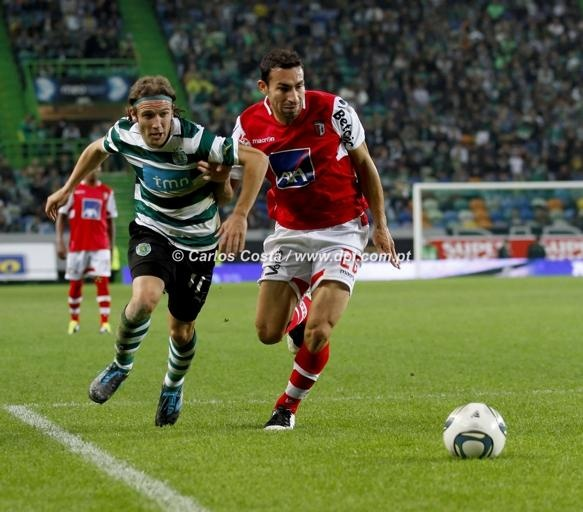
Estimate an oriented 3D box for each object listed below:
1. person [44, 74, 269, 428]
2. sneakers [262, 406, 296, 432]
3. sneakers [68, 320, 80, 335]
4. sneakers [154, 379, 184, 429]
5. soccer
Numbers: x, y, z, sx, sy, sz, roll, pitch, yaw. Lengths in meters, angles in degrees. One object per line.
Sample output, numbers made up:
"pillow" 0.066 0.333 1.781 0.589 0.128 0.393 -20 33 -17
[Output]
"person" -0.885 -0.016 7.021 1.429 2.490 0.657 0 4 0
"sneakers" -0.075 1.158 7.056 0.219 0.135 0.275 1 4 1
"sneakers" -2.580 0.851 11.682 0.150 0.194 0.094 7 -4 -5
"sneakers" -0.896 1.079 7.109 0.127 0.359 0.162 2 -33 -6
"soccer" 1.222 1.171 6.496 0.431 0.416 0.428 1 -8 15
